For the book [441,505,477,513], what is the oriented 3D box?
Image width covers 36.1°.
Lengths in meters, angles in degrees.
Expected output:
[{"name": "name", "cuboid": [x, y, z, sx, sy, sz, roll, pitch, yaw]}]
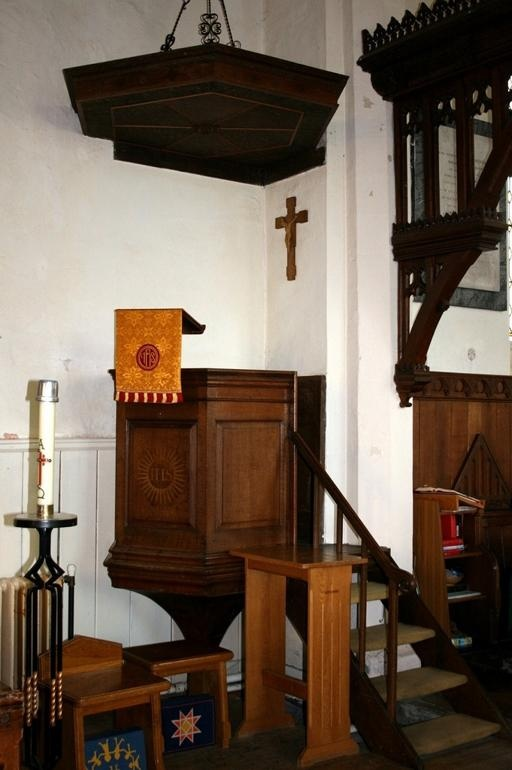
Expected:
[{"name": "book", "cuboid": [1.209, 0.732, 4.625, 0.109, 0.026, 0.098, 3, -2, -31]}]
